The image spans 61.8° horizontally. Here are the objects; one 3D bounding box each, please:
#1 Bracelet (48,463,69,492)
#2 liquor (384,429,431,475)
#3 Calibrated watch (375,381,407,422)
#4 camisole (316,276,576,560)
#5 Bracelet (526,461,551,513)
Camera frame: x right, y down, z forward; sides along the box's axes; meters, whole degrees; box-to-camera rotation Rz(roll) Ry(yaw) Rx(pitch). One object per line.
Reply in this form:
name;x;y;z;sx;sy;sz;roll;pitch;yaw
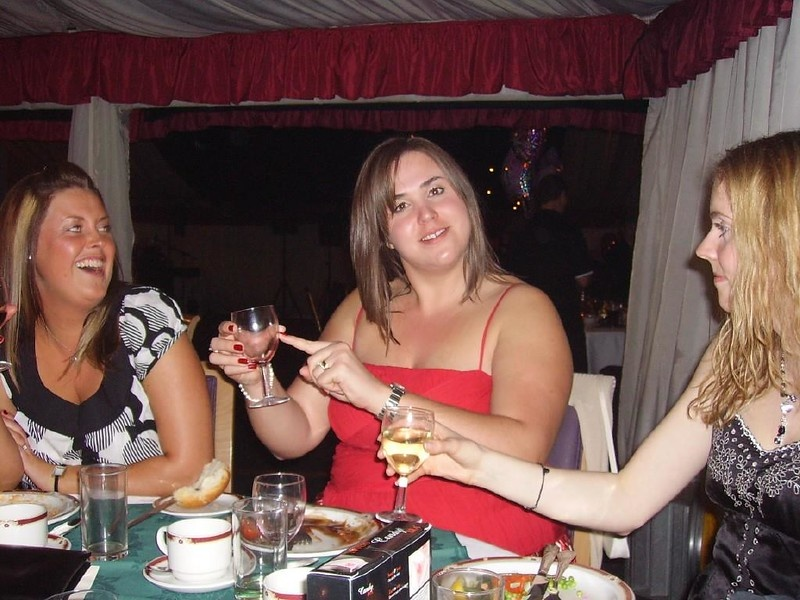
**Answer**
Bracelet;-1.123;0.590;2.214;0.039;0.100;0.082;1;7;-26
liquor;0.021;0.411;1.920;0.118;0.192;0.118;0;1;-10
Calibrated watch;-0.023;0.322;2.186;0.071;0.122;0.120;27;29;5
camisole;0.180;0.415;2.318;0.722;0.990;0.561;3;-30;30
Bracelet;0.431;0.577;2.060;0.032;0.120;0.103;16;-13;-9
